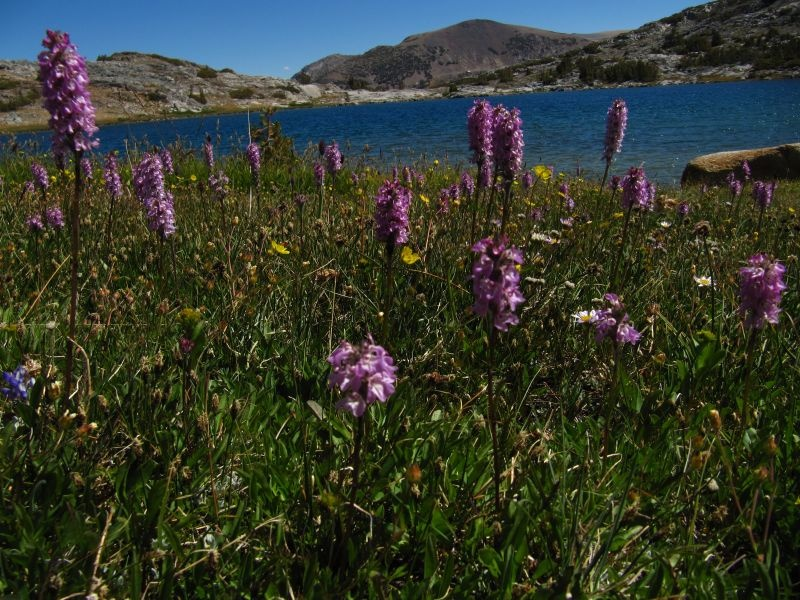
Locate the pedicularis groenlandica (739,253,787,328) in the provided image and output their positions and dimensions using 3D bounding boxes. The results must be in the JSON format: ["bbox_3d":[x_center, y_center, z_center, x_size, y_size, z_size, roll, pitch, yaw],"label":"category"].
[{"bbox_3d":[1.579,-0.023,2.631,0.168,0.379,0.285,9,21,32],"label":"pedicularis groenlandica"}]

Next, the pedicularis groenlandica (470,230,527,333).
[{"bbox_3d":[0.381,-0.046,2.327,0.188,0.404,0.289,2,18,12],"label":"pedicularis groenlandica"}]

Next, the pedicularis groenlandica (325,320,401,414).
[{"bbox_3d":[-0.150,0.291,2.203,0.232,0.378,0.259,-9,19,-21],"label":"pedicularis groenlandica"}]
